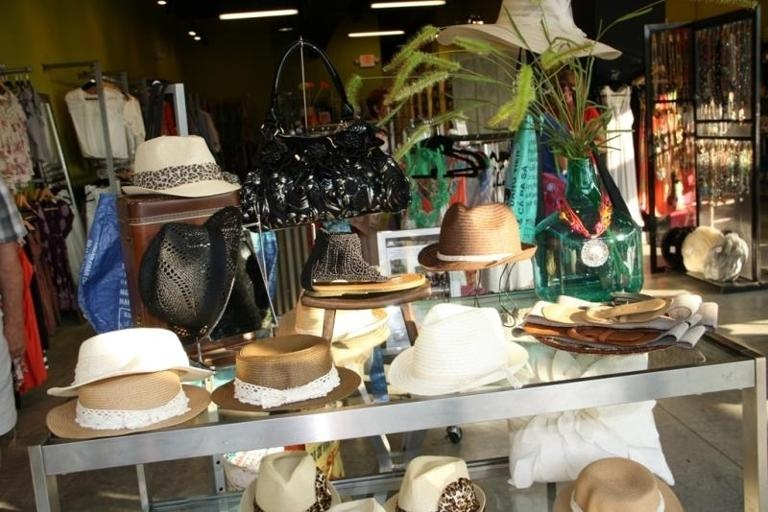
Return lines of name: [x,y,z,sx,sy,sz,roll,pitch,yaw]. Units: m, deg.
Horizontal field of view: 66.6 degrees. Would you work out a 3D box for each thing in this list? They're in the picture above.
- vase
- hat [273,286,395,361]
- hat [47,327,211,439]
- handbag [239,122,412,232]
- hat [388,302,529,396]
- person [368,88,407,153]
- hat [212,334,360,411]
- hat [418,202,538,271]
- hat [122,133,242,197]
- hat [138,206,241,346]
vase: [0.831,-0.100,2.391,0.411,0.686,0.229,-5,-25,17]
hat: [-0.174,0.224,2.243,0.465,0.152,0.428,-9,8,-4]
hat: [-0.771,0.378,1.752,0.374,0.212,0.362,-1,-3,-10]
handbag: [-0.267,-0.315,2.430,0.842,0.538,0.403,-8,14,-15]
hat: [0.242,0.274,2.007,0.538,0.211,0.509,-6,4,-37]
person: [0.060,-1.354,5.654,0.330,0.297,0.921,-18,28,-2]
hat: [-0.330,0.364,1.947,0.475,0.152,0.502,-5,7,-6]
hat: [0.371,-0.096,2.302,0.445,0.215,0.564,0,6,33]
hat: [-0.785,-0.359,2.219,0.483,0.190,0.408,8,18,29]
hat: [-0.662,0.068,2.009,0.332,0.430,0.221,-6,9,-9]
